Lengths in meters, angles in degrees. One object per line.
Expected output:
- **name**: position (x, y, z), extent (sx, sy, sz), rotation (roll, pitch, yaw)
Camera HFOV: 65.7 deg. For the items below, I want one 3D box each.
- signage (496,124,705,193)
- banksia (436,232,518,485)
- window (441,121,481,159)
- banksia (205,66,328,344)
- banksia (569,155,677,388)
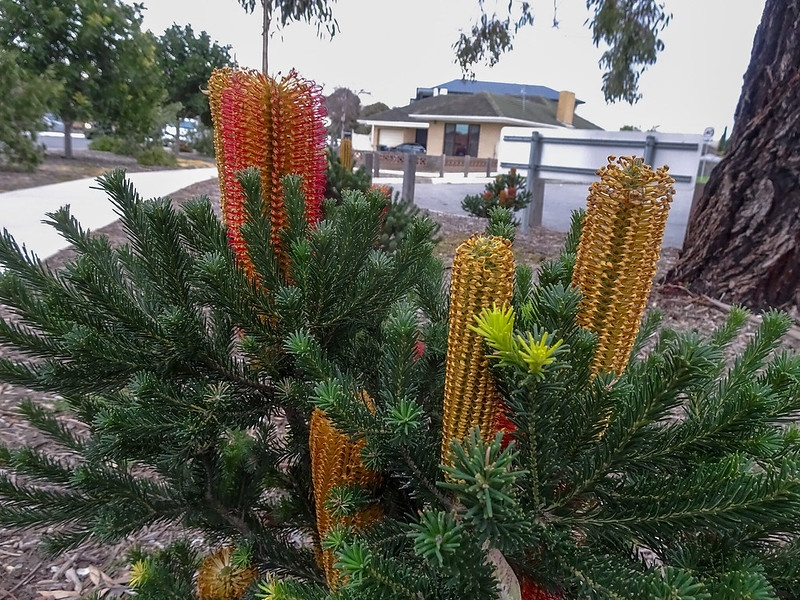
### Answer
- **signage**: position (3.899, -2.968, 13.033), extent (0.360, 1.217, 4.859), rotation (-7, 17, -35)
- **banksia**: position (0.176, 0.151, 1.599), extent (0.175, 0.624, 0.173), rotation (-13, 25, -33)
- **window**: position (4.904, -13.007, 49.998), extent (2.853, 2.535, 0.744), rotation (4, 22, 6)
- **banksia**: position (-0.432, -0.452, 2.137), extent (0.365, 0.649, 0.605), rotation (-5, 23, -16)
- **banksia**: position (0.543, -0.082, 1.577), extent (0.171, 0.537, 0.196), rotation (16, 27, 33)
